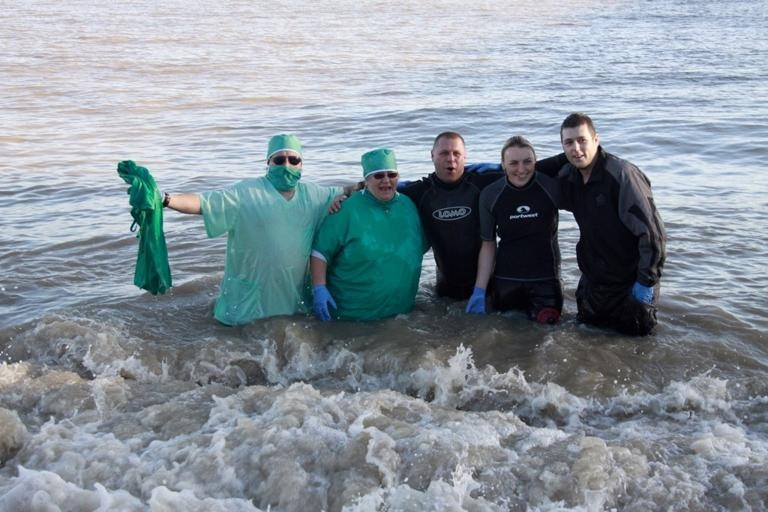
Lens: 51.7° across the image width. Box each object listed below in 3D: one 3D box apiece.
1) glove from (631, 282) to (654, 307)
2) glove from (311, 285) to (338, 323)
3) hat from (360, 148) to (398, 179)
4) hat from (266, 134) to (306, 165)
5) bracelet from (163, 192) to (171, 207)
[{"bbox_3d":[3.239,0.490,10.057,0.283,0.212,0.266,6,14,4],"label":"glove"},{"bbox_3d":[-0.801,0.631,10.456,0.354,0.441,0.138,-6,12,7],"label":"glove"},{"bbox_3d":[-0.098,-1.191,10.352,0.443,0.264,0.377,-4,4,29],"label":"hat"},{"bbox_3d":[-1.261,-1.408,10.358,0.440,0.434,0.589,2,-2,-14],"label":"hat"},{"bbox_3d":[-2.594,-0.656,9.546,0.089,0.191,0.147,-8,25,-14],"label":"bracelet"}]
